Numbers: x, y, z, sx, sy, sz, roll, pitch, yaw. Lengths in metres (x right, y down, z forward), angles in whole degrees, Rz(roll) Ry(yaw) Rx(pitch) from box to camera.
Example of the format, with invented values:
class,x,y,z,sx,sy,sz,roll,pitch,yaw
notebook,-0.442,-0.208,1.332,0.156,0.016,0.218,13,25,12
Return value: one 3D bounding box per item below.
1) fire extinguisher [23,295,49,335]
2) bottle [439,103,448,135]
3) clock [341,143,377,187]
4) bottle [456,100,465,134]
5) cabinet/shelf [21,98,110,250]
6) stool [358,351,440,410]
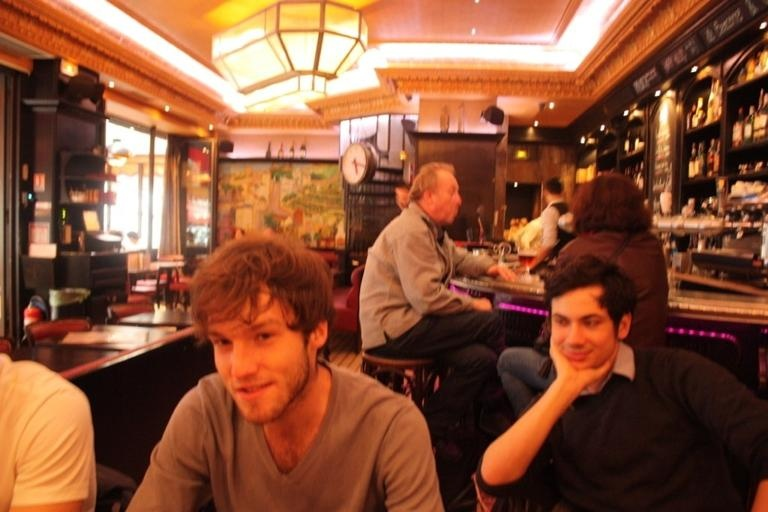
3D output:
class,x,y,z,sx,sy,sz,roll,pitch,yaw
fire extinguisher,-3.928,0.635,6.478,0.310,0.319,0.184,0,21,3
bottle,0.890,-2.003,8.335,0.133,0.385,0.194,-1,4,6
clock,-0.404,-1.435,8.978,0.226,0.640,0.623,-3,10,-43
bottle,1.119,-2.045,8.343,0.123,0.411,0.061,-1,4,-3
cabinet/shelf,-3.912,-0.984,7.092,0.439,1.755,0.915,0,4,19
stool,0.141,0.855,4.188,0.423,0.520,0.432,0,-3,2
